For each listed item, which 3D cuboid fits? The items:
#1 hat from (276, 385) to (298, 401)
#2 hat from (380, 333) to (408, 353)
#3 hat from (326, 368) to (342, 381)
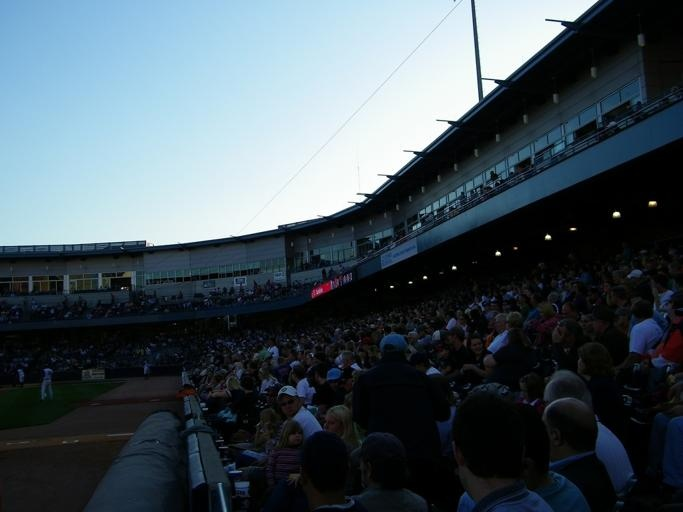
[{"bbox_3d":[-0.748,1.921,8.712,0.245,0.220,0.406,-4,-20,-1],"label":"hat"},{"bbox_3d":[0.717,1.166,8.254,0.310,0.283,0.547,-9,-10,11],"label":"hat"},{"bbox_3d":[-0.106,1.965,10.139,0.250,0.212,0.209,-6,-10,-4],"label":"hat"}]
